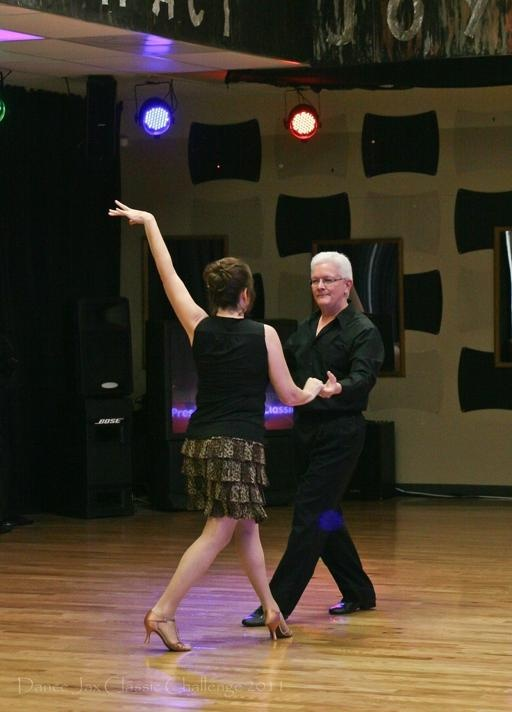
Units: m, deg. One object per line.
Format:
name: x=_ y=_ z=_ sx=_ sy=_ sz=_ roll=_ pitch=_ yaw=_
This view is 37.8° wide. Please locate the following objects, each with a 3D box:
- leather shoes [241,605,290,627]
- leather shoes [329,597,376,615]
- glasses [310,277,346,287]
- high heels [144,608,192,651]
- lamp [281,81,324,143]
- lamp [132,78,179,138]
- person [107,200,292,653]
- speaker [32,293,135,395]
leather shoes: x=0.011 y=1.015 z=2.950 sx=0.059 sy=0.076 sz=0.176 roll=-2 pitch=-10 yaw=23
leather shoes: x=0.393 y=1.034 z=3.139 sx=0.209 sy=0.081 sz=0.070 roll=5 pitch=-8 yaw=-18
glasses: x=0.262 y=-0.286 z=2.838 sx=0.129 sy=0.031 sz=0.065 roll=-2 pitch=-5 yaw=23
high heels: x=-0.292 y=0.911 z=2.502 sx=0.130 sy=0.164 sz=0.193 roll=-1 pitch=-5 yaw=3
lamp: x=0.384 y=-2.006 z=6.207 sx=0.371 sy=0.513 sz=0.235 roll=-1 pitch=11 yaw=2
lamp: x=-0.786 y=-1.939 z=5.772 sx=0.327 sy=0.455 sz=0.245 roll=-7 pitch=36 yaw=-11
person: x=-0.168 y=0.201 z=2.533 sx=0.657 sy=1.599 sz=0.581 roll=1 pitch=-5 yaw=-11
speaker: x=-1.151 y=-0.093 z=5.823 sx=0.571 sy=0.799 sz=0.437 roll=-5 pitch=11 yaw=-25
